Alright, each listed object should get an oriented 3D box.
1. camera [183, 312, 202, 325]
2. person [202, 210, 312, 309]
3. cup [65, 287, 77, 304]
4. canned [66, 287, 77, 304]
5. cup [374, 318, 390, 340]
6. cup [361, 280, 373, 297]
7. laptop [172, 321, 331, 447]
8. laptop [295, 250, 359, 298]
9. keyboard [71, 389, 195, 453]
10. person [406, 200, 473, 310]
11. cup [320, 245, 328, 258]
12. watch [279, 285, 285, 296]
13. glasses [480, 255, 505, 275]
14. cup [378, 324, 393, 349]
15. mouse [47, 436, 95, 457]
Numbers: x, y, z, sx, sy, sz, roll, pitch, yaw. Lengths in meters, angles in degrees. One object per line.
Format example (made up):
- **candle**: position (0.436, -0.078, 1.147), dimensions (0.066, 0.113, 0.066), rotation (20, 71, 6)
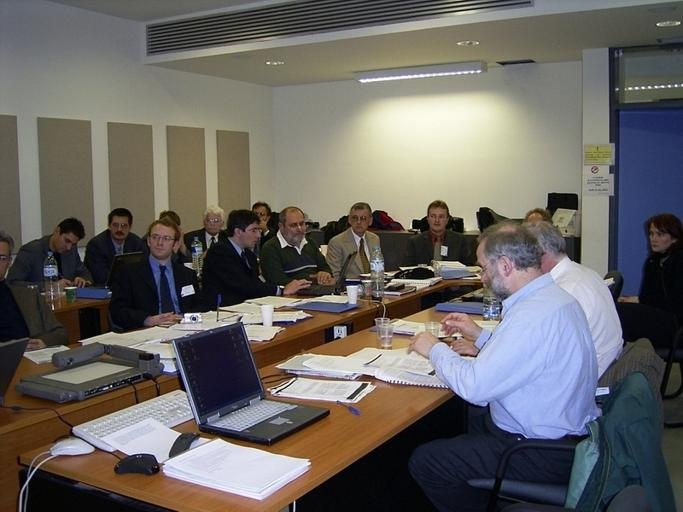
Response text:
- **camera**: position (-0.947, 0.391, 3.344), dimensions (0.083, 0.053, 0.084), rotation (-1, 4, 9)
- **person**: position (-0.805, 0.011, 4.863), dimensions (0.994, 0.819, 0.672), rotation (3, 4, 2)
- **cup**: position (-2.401, 0.353, 4.691), dimensions (0.119, 0.134, 0.118), rotation (1, 6, 0)
- **canned**: position (-2.385, 0.349, 4.698), dimensions (0.119, 0.134, 0.118), rotation (-2, 7, -24)
- **cup**: position (0.234, 0.438, 3.114), dimensions (0.101, 0.112, 0.106), rotation (0, -4, 0)
- **cup**: position (0.224, 0.274, 4.469), dimensions (0.118, 0.147, 0.119), rotation (-1, 3, 0)
- **laptop**: position (-0.340, 0.483, 2.057), dimensions (0.484, 0.343, 0.458), rotation (3, 8, 28)
- **laptop**: position (-0.121, 0.128, 4.743), dimensions (0.396, 0.317, 0.451), rotation (4, -2, 9)
- **keyboard**: position (-0.791, 0.640, 2.098), dimensions (0.136, 0.040, 0.306), rotation (16, 20, 31)
- **person**: position (1.160, -0.027, 6.292), dimensions (0.868, 1.185, 0.966), rotation (-1, 8, -11)
- **cup**: position (-0.221, -0.086, 6.897), dimensions (0.116, 0.191, 0.127), rotation (0, 2, 0)
- **watch**: position (-0.521, 0.306, 4.703), dimensions (0.043, 0.061, 0.066), rotation (11, -3, 20)
- **glasses**: position (0.708, 0.034, 2.416), dimensions (0.068, 0.090, 0.090), rotation (-14, -26, -43)
- **cup**: position (0.260, 0.467, 3.060), dimensions (0.122, 0.171, 0.118), rotation (0, -1, 0)
- **mouse**: position (-0.971, 0.688, 1.912), dimensions (0.096, 0.026, 0.075), rotation (2, 4, -10)
